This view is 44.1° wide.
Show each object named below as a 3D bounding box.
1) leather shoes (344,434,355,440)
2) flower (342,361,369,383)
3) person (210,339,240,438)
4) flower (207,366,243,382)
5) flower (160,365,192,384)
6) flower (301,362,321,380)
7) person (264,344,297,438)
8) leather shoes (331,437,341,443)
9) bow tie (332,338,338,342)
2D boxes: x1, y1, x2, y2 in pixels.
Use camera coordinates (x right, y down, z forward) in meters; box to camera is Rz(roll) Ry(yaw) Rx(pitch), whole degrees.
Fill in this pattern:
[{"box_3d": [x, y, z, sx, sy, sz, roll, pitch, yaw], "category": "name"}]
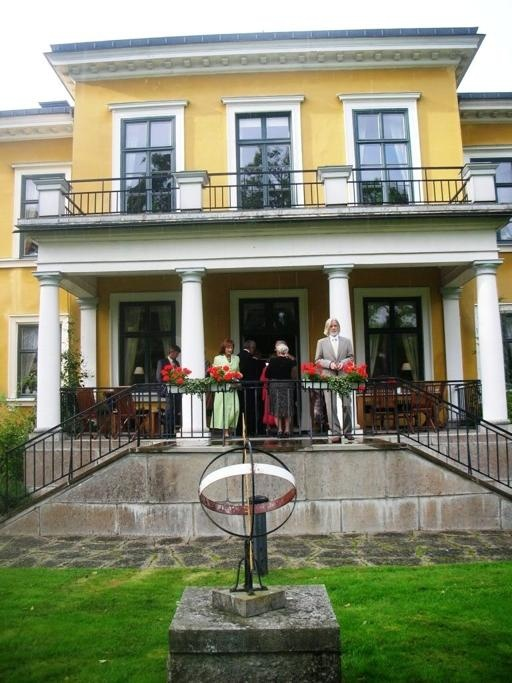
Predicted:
[{"box_3d": [1.322, 1.365, 8.966, 0.120, 0.090, 0.341, -2, -7, 8], "category": "leather shoes"}, {"box_3d": [1.389, 0.417, 8.845, 0.279, 0.266, 0.289, -2, 10, -33], "category": "flower"}, {"box_3d": [-0.401, 0.671, 9.593, 0.441, 1.435, 0.441, 8, -14, -32], "category": "person"}, {"box_3d": [-0.461, 0.458, 8.993, 0.455, 0.269, 0.495, 0, -7, -8], "category": "flower"}, {"box_3d": [-1.126, 0.474, 9.011, 0.301, 0.240, 0.310, 5, -1, 39], "category": "flower"}, {"box_3d": [0.780, 0.419, 8.924, 0.250, 0.262, 0.467, -1, -7, 5], "category": "flower"}, {"box_3d": [0.352, 0.657, 9.421, 0.471, 1.457, 1.432, -1, -7, 2], "category": "person"}, {"box_3d": [1.137, 1.392, 9.051, 0.132, 0.093, 0.345, -1, -7, 7], "category": "leather shoes"}, {"box_3d": [1.207, -0.039, 9.670, 0.049, 0.055, 0.013, 0, -6, -6], "category": "bow tie"}]
